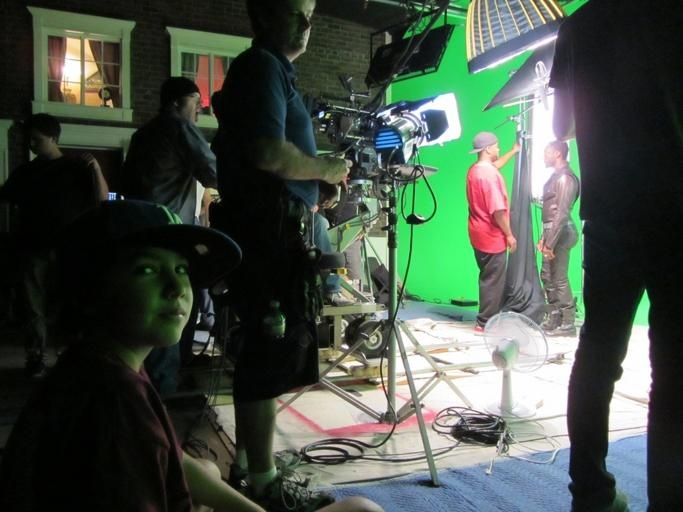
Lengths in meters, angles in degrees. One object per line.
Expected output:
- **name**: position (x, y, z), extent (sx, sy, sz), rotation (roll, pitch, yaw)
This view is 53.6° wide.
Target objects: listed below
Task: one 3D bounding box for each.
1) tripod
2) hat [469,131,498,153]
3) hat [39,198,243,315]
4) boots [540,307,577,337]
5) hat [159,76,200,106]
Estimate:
- **tripod**: position (0.214, 0.303, 3.889), extent (0.971, 1.631, 1.044), rotation (1, 6, 14)
- **hat**: position (1.588, -1.285, 7.538), extent (0.268, 0.157, 0.187), rotation (-24, 19, -14)
- **hat**: position (-0.683, -0.030, 2.327), extent (0.618, 0.304, 0.446), rotation (-34, -27, 33)
- **boots**: position (2.228, 0.698, 7.126), extent (0.476, 0.351, 0.163), rotation (3, 0, 23)
- **hat**: position (-1.134, -1.157, 4.746), extent (0.237, 0.204, 0.215), rotation (2, 6, -5)
